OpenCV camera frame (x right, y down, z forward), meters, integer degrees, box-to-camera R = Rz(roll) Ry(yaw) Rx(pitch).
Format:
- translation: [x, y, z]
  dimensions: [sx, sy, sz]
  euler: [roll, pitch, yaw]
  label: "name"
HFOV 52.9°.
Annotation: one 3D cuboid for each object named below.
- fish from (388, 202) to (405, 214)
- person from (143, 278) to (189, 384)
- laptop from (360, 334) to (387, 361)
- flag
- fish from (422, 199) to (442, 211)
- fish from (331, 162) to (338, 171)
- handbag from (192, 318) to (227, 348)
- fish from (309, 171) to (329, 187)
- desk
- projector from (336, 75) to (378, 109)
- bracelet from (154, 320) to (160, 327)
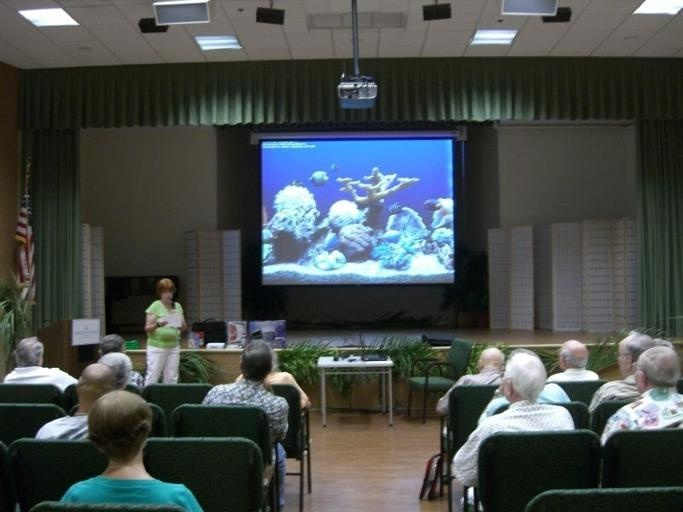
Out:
- translation: [0.963, -0.858, 12.250]
  dimensions: [0.179, 0.087, 0.163]
  euler: [-23, -18, 27]
  label: "fish"
- translation: [-2.110, 0.900, 8.229]
  dimensions: [0.453, 1.259, 0.553]
  euler: [2, -3, -16]
  label: "person"
- translation: [0.385, 1.216, 8.874]
  dimensions: [0.229, 0.277, 0.195]
  euler: [-2, 2, 0]
  label: "laptop"
- translation: [-4.225, -0.337, 9.226]
  dimensions: [0.293, 1.939, 0.785]
  euler: [2, -3, -24]
  label: "flag"
- translation: [1.611, -0.928, 12.305]
  dimensions: [0.294, 0.199, 0.073]
  euler: [0, -3, 7]
  label: "fish"
- translation: [-0.130, -1.612, 12.341]
  dimensions: [0.103, 0.135, 0.053]
  euler: [4, 1, 2]
  label: "fish"
- translation: [-1.753, 0.992, 9.280]
  dimensions: [0.560, 0.474, 0.302]
  euler: [0, 2, 10]
  label: "handbag"
- translation: [-0.415, -1.401, 12.361]
  dimensions: [0.286, 0.296, 0.178]
  euler: [-7, -10, 4]
  label: "fish"
- translation: [0.163, 1.612, 8.427]
  dimensions: [0.849, 0.706, 0.810]
  euler: [0, -3, -1]
  label: "desk"
- translation: [0.177, -1.979, 8.112]
  dimensions: [0.420, 0.386, 0.304]
  euler: [1, -3, -2]
  label: "projector"
- translation: [-2.167, 0.796, 8.088]
  dimensions: [0.016, 0.060, 0.060]
  euler: [6, 24, 39]
  label: "bracelet"
